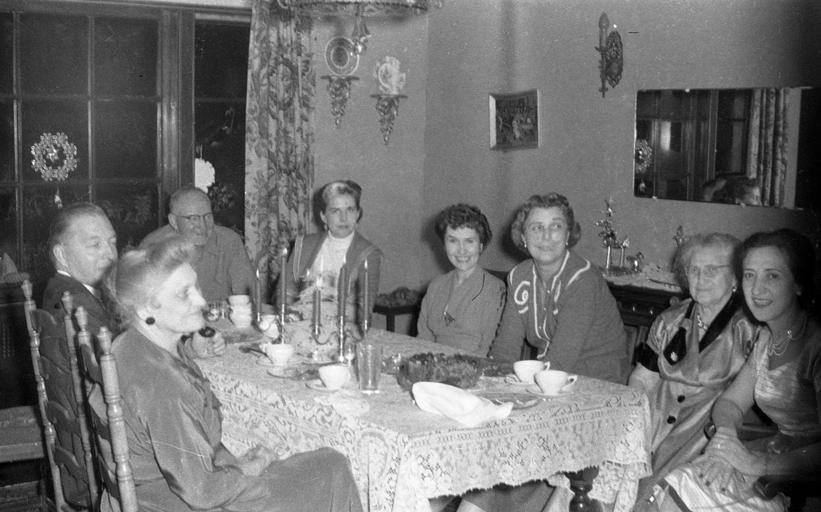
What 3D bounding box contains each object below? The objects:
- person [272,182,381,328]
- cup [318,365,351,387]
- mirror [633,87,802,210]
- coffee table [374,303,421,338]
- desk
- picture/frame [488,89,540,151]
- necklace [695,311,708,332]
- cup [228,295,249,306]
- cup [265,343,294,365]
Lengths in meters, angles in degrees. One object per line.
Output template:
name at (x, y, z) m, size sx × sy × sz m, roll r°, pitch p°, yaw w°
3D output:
person at (-0.527, 0.008, 4.788) m, size 0.676 × 0.974 × 0.591 m, roll 7°, pitch 12°, yaw 17°
cup at (-0.333, 0.539, 3.253) m, size 0.106 × 0.075 × 0.108 m, roll 0°, pitch -9°, yaw 0°
mirror at (1.982, -0.711, 4.815) m, size 1.057 × 0.791 × 0.058 m, roll 0°, pitch 9°, yaw 0°
coffee table at (-0.105, 0.530, 6.365) m, size 0.304 × 0.466 × 0.317 m, roll -1°, pitch 2°, yaw -29°
desk at (1.530, 0.307, 5.007) m, size 0.384 × 0.373 × 0.225 m, roll 8°, pitch 28°, yaw -1°
picture/frame at (0.885, -1.145, 6.053) m, size 0.044 × 0.544 × 0.524 m, roll -3°, pitch 6°, yaw -43°
necklace at (1.549, 0.350, 3.845) m, size 0.061 × 0.100 × 0.029 m, roll 16°, pitch -25°, yaw 2°
cup at (-1.011, 0.264, 4.317) m, size 0.077 × 0.039 × 0.079 m, roll 0°, pitch -6°, yaw 0°
cup at (-0.642, 0.472, 3.545) m, size 0.106 × 0.073 × 0.106 m, roll 1°, pitch -4°, yaw 0°
